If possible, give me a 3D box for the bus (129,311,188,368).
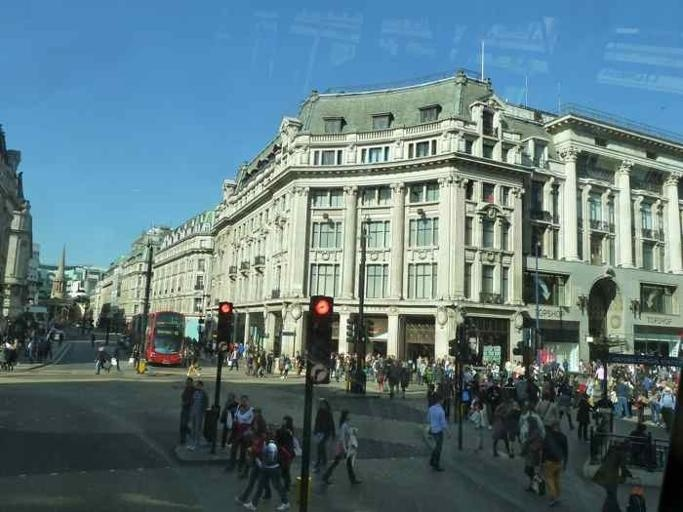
[{"bbox_3d":[-14.874,6.231,58.755,2.568,3.318,10.928,4,-4,-20],"label":"bus"}]

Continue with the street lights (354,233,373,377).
[{"bbox_3d":[1.142,3.008,41.272,0.815,9.325,0.688,0,-3,-30],"label":"street lights"}]
